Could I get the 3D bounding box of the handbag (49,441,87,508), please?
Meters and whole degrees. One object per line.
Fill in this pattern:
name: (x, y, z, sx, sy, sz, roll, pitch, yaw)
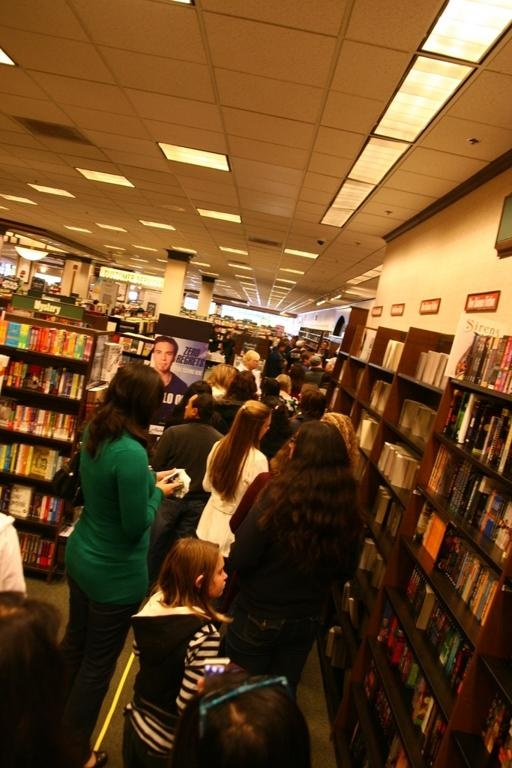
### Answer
handbag: (-0.982, 0.465, 2.678, 0.144, 0.265, 0.194, 13, 2, -32)
